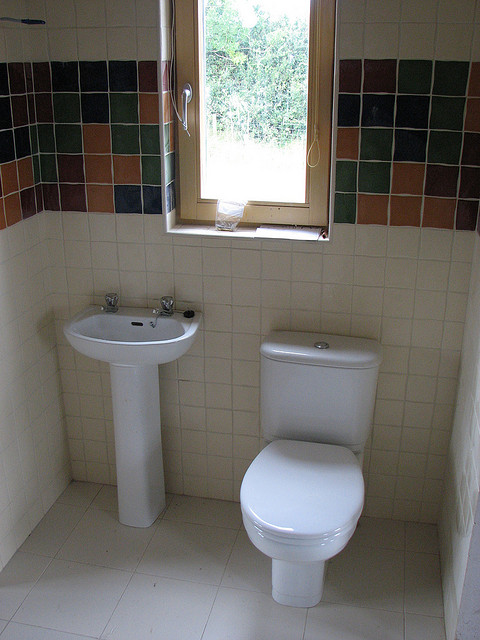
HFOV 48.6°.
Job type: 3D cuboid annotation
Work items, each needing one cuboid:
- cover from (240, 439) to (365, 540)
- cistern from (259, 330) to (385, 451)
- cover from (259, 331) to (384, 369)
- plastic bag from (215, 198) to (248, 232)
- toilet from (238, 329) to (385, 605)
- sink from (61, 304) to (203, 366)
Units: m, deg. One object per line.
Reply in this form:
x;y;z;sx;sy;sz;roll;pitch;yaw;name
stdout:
0.192;0.501;1.606;0.353;0.037;0.445;3;18;10;cover
0.277;0.191;1.907;0.401;0.492;0.301;5;41;8;cistern
0.289;0.101;1.829;0.416;0.059;0.223;4;18;13;cover
-0.025;-0.397;1.975;0.121;0.115;0.117;-1;15;-3;plastic bag
0.217;0.549;1.712;0.330;0.897;0.684;4;9;16;toilet
-0.373;0.078;1.897;0.464;0.159;0.393;2;17;6;sink
